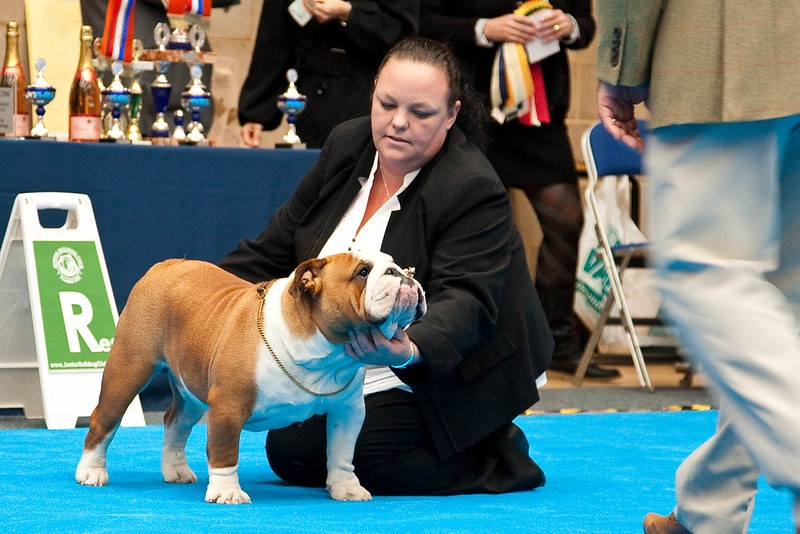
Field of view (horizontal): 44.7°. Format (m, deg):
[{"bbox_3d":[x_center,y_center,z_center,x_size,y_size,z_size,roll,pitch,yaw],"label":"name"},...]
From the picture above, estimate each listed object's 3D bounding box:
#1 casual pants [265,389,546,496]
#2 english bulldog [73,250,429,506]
[{"bbox_3d":[0.030,0.589,3.681,0.688,0.238,0.517,3,-5,-16],"label":"casual pants"},{"bbox_3d":[-0.533,0.394,3.470,1.322,0.850,0.665,0,-4,32],"label":"english bulldog"}]
